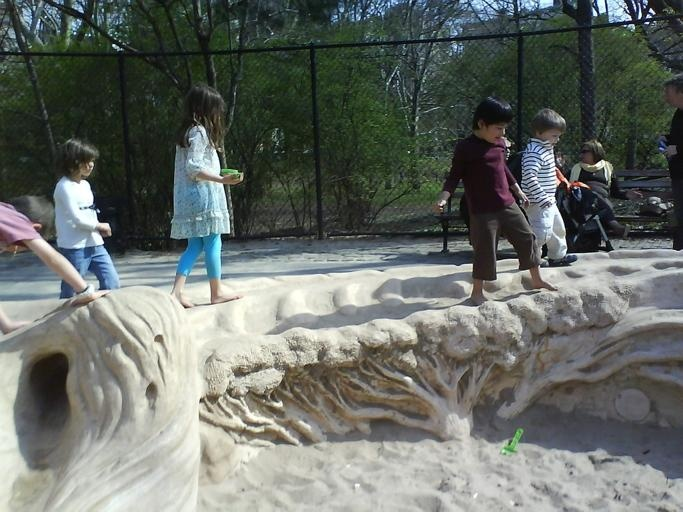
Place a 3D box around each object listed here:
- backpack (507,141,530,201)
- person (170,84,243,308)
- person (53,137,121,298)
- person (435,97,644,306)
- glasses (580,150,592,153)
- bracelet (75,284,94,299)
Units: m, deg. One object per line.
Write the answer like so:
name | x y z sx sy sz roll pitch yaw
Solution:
backpack | 1.639 -0.726 5.923 0.306 0.517 0.477 -1 7 12
person | -1.112 -0.493 5.313 0.592 1.701 0.607 -6 7 -12
person | -2.014 -0.160 5.328 0.426 1.564 0.446 -6 15 -27
person | 1.321 -0.490 5.305 0.666 1.490 1.580 1 10 34
glasses | 2.623 -1.117 7.187 0.050 0.019 0.053 6 -2 -24
bracelet | -1.563 0.208 4.092 0.107 0.057 0.173 -10 9 -26
